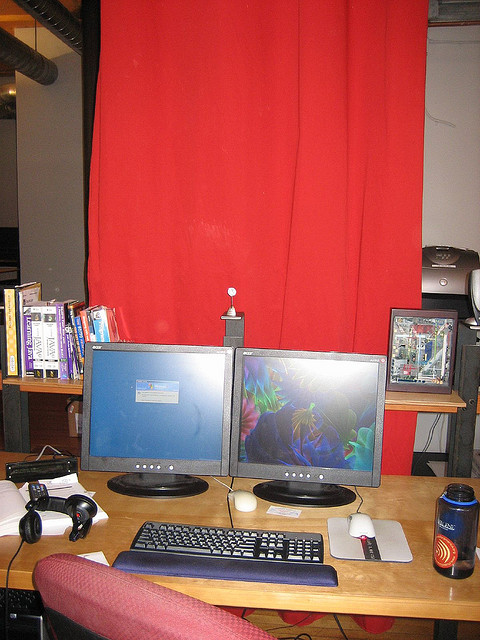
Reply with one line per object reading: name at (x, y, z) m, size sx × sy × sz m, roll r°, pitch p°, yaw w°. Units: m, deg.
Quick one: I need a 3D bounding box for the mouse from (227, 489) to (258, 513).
mouse at (0.008, 0.459, 1.404) m, size 0.035 × 0.020 × 0.056 m, roll 10°, pitch 2°, yaw -23°

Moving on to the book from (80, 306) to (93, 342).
book at (-0.550, 0.020, 1.953) m, size 0.015 × 0.118 × 0.084 m, roll -8°, pitch 16°, yaw -8°

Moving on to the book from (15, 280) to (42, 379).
book at (-0.774, 0.050, 1.998) m, size 0.048 × 0.335 × 0.273 m, roll 0°, pitch 10°, yaw -9°

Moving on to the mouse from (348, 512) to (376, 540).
mouse at (0.285, 0.482, 1.291) m, size 0.064 × 0.044 × 0.054 m, roll 5°, pitch 7°, yaw 14°

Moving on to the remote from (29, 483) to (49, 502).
remote at (-0.497, 0.419, 1.348) m, size 0.039 × 0.023 × 0.056 m, roll -2°, pitch 9°, yaw -34°

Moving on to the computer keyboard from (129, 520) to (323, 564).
computer keyboard at (-0.028, 0.494, 1.232) m, size 0.419 × 0.022 × 0.124 m, roll 4°, pitch 8°, yaw 4°

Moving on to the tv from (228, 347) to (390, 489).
tv at (0.172, 0.255, 1.454) m, size 0.314 × 0.329 × 0.028 m, roll 5°, pitch -3°, yaw 8°

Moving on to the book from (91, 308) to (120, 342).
book at (-0.503, 0.018, 2.025) m, size 0.086 × 0.131 × 0.036 m, roll -5°, pitch 2°, yaw -33°

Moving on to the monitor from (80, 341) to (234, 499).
monitor at (-0.228, 0.268, 1.516) m, size 0.392 × 0.419 × 0.200 m, roll 3°, pitch -15°, yaw -5°

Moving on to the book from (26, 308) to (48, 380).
book at (-0.735, 0.074, 1.992) m, size 0.073 × 0.227 × 0.221 m, roll -4°, pitch -2°, yaw -16°
